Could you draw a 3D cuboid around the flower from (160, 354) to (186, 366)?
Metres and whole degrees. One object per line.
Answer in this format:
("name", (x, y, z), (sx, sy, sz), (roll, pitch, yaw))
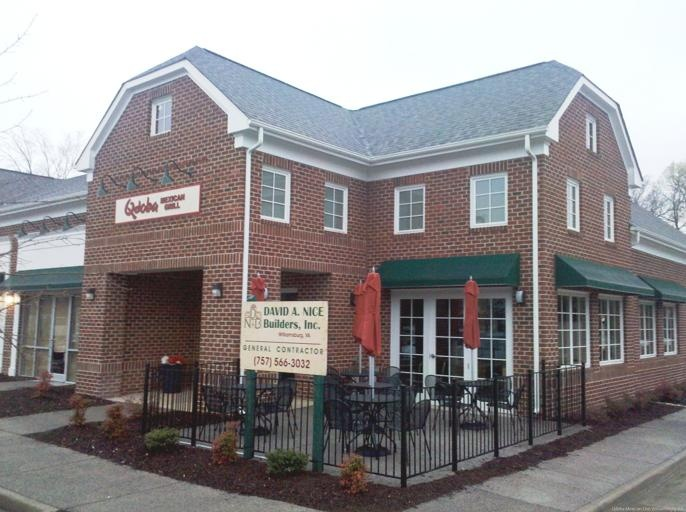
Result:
("flower", (-5.211, 3.138, 18.096), (0.401, 0.209, 0.486), (6, -4, -32))

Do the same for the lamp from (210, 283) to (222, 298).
("lamp", (-3.260, 0.894, 15.379), (0.366, 0.375, 0.356), (1, -2, -40))

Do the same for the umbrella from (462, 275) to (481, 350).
("umbrella", (3.062, 1.364, 14.208), (0.330, 1.682, 0.637), (1, -1, 25))

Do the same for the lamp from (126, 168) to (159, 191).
("lamp", (-5.820, -2.210, 17.312), (0.619, 0.653, 1.117), (-3, -6, 38))

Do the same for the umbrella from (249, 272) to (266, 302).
("umbrella", (-2.068, 0.735, 14.400), (0.461, 0.697, 1.826), (2, -1, -8))

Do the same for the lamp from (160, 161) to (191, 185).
("lamp", (-4.665, -2.311, 16.654), (0.813, 0.699, 1.006), (2, -1, -18))

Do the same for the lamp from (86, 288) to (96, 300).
("lamp", (-7.654, 1.144, 18.056), (0.393, 0.406, 0.143), (-1, -2, 23))

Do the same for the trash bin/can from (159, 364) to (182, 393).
("trash bin/can", (-3.694, 2.672, 12.773), (0.478, 0.633, 0.841), (2, -1, -16))

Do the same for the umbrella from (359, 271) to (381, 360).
("umbrella", (0.552, 1.181, 12.141), (0.368, 1.640, 0.322), (2, -1, 1))
